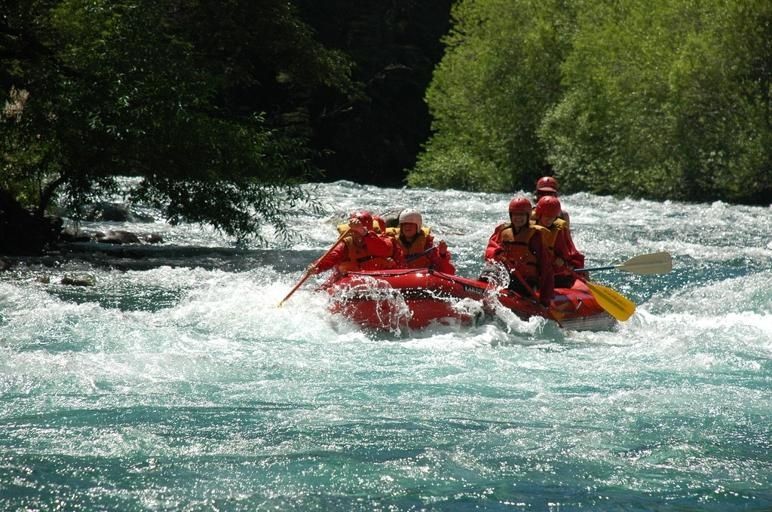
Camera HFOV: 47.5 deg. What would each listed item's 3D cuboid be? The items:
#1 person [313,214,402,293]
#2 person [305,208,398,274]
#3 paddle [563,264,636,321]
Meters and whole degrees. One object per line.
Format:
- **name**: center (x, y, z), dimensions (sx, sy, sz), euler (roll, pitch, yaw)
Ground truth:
- **person**: center (-0.499, -0.084, 15.063), dimensions (1.066, 0.643, 1.475), euler (-6, 4, 5)
- **person**: center (-0.472, -0.085, 15.040), dimensions (0.953, 0.597, 1.341), euler (-1, 26, 9)
- **paddle**: center (3.534, 0.754, 15.177), dimensions (1.560, 0.423, 0.148), euler (25, -13, -3)
